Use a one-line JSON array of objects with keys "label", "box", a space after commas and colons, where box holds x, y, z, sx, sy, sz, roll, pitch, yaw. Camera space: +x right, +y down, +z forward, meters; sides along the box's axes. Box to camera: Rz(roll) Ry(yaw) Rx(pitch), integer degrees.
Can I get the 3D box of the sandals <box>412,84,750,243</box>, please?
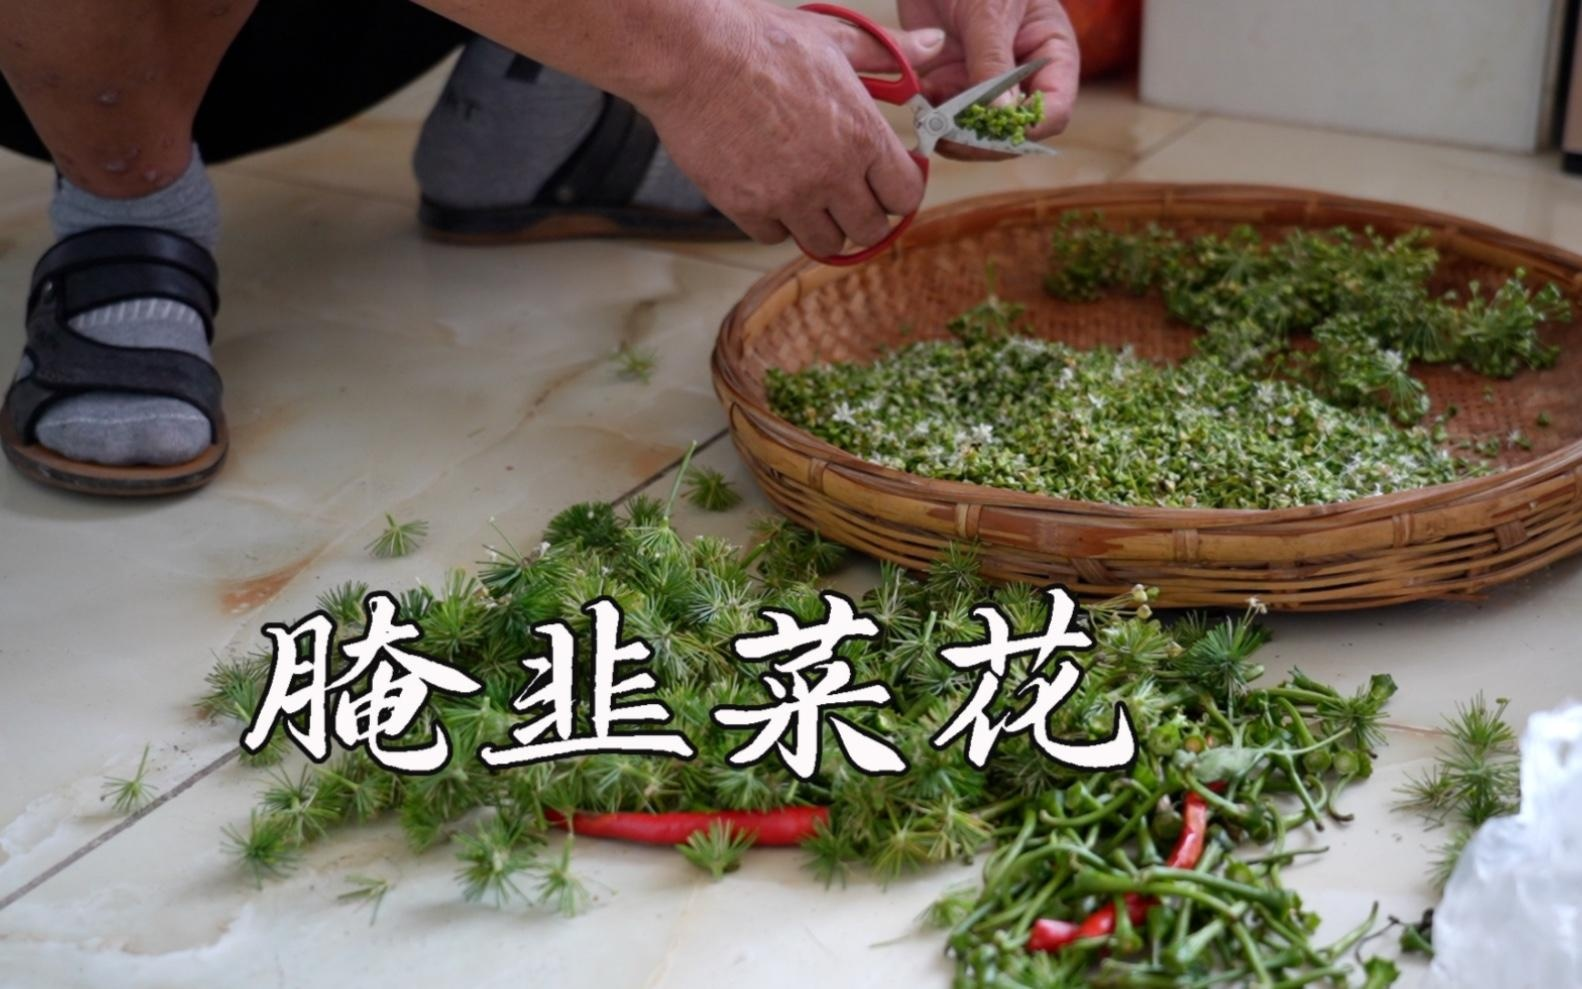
[{"label": "sandals", "box": [-0.374, -0.620, 2.342, 0.701, 0.269, 0.233, -3, 32, -8]}]
